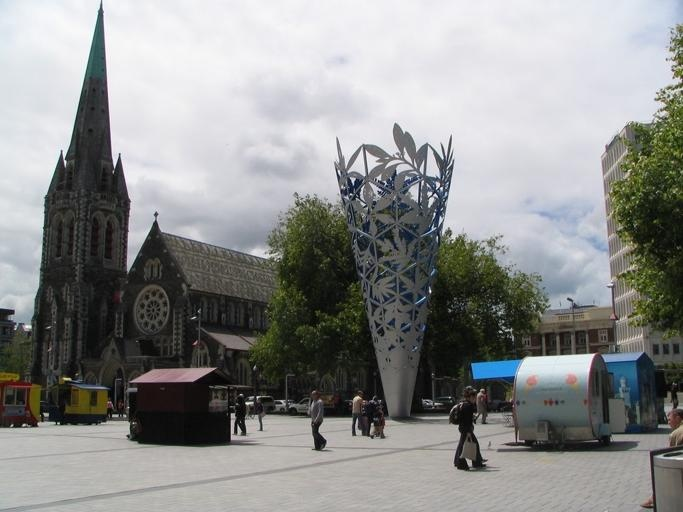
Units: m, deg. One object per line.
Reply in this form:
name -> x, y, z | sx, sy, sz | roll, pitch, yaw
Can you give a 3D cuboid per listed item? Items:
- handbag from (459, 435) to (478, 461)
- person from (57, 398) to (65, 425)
handbag -> 3.202, 4.794, 17.429 | 0.460, 0.619, 0.168 | 1, -12, -5
person -> -16.879, 9.337, 41.916 | 0.331, 1.448, 0.973 | 9, -16, -38
